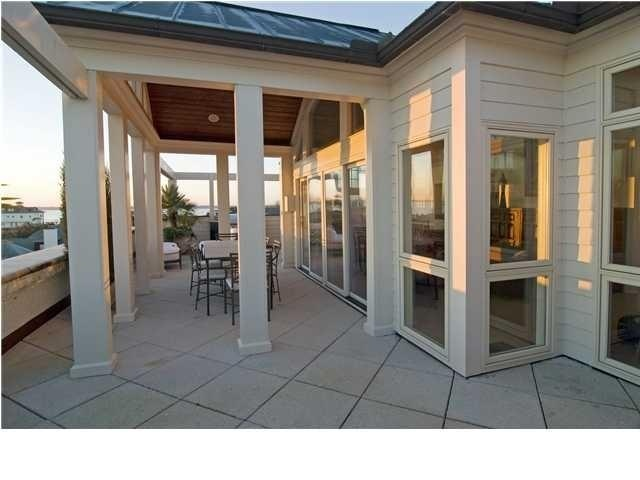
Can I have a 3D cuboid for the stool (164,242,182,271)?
[{"bbox_3d":[-3.520,0.358,10.395,0.390,0.549,0.797,-4,7,-21],"label":"stool"}]
